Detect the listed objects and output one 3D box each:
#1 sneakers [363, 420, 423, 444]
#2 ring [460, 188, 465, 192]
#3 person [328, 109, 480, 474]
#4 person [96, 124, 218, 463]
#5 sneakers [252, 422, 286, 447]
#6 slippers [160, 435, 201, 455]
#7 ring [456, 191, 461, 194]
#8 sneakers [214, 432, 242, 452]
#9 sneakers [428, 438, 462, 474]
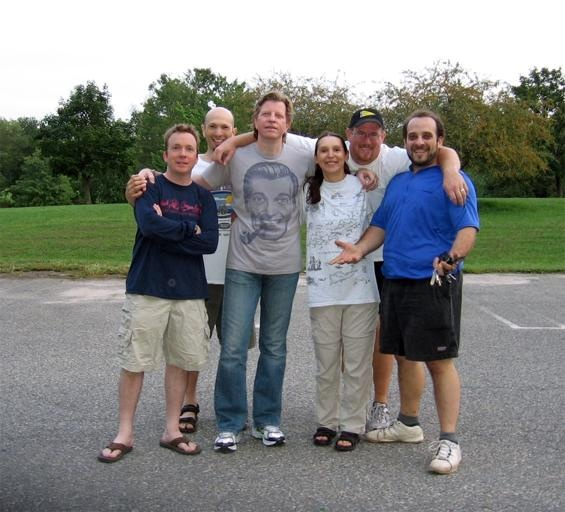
[{"bbox_3d":[0.783,1.224,3.737,0.416,0.173,0.151,3,-4,3],"label":"sneakers"},{"bbox_3d":[1.092,-0.401,3.208,0.022,0.022,0.007,-2,2,-16],"label":"ring"},{"bbox_3d":[0.886,0.175,3.458,0.560,2.260,0.802,-5,8,-41],"label":"person"},{"bbox_3d":[-0.787,0.172,3.521,0.795,2.136,0.457,-3,7,-26],"label":"person"},{"bbox_3d":[-0.090,1.228,3.686,0.100,0.102,0.232,5,-10,-31],"label":"sneakers"},{"bbox_3d":[-0.669,1.209,3.486,0.244,0.075,0.103,3,10,34],"label":"slippers"},{"bbox_3d":[1.058,-0.384,3.200,0.018,0.017,0.018,2,0,0],"label":"ring"},{"bbox_3d":[-0.373,1.229,3.567,0.178,0.115,0.218,-1,6,-7],"label":"sneakers"},{"bbox_3d":[0.995,1.212,3.257,0.162,0.146,0.350,1,3,32],"label":"sneakers"}]
